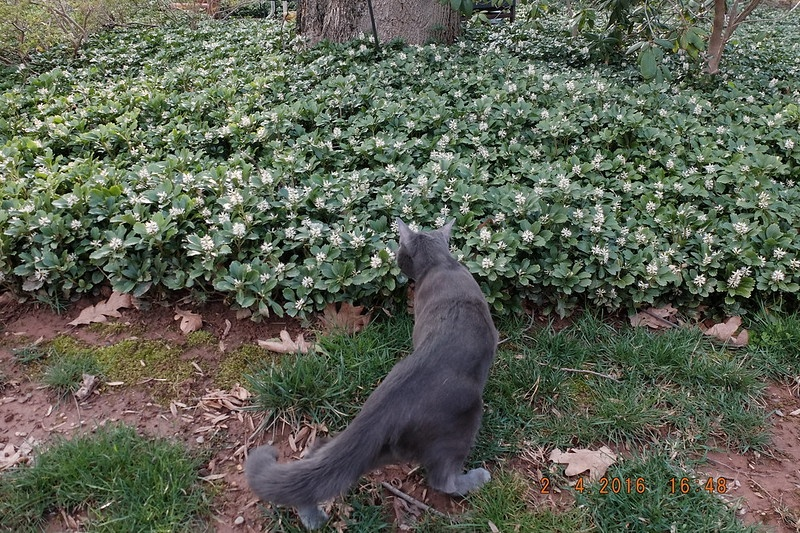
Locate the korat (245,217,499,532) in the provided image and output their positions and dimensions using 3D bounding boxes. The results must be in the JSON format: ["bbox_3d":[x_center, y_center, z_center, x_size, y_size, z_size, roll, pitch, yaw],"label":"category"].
[{"bbox_3d":[-0.228,0.934,4.317,0.852,1.336,2.454,16,48,28],"label":"korat"}]
